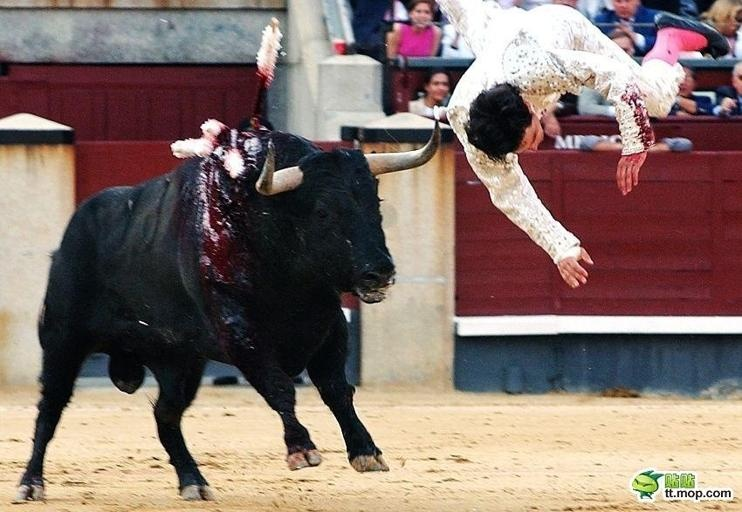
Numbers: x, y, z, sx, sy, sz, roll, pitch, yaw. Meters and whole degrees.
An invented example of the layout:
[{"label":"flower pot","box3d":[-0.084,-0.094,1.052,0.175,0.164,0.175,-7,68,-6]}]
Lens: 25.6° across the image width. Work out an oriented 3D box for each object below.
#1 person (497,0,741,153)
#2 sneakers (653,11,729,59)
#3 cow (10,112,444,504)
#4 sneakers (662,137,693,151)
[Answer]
[{"label":"person","box3d":[1.264,-0.802,8.257,1.217,0.403,0.739,-20,45,-26]},{"label":"sneakers","box3d":[1.672,-1.153,8.491,0.556,0.152,0.152,13,50,0]},{"label":"cow","box3d":[-0.843,0.296,8.341,2.037,1.797,0.679,-6,0,32]},{"label":"sneakers","box3d":[2.072,-0.748,11.067,0.161,0.048,0.107,10,0,-3]}]
